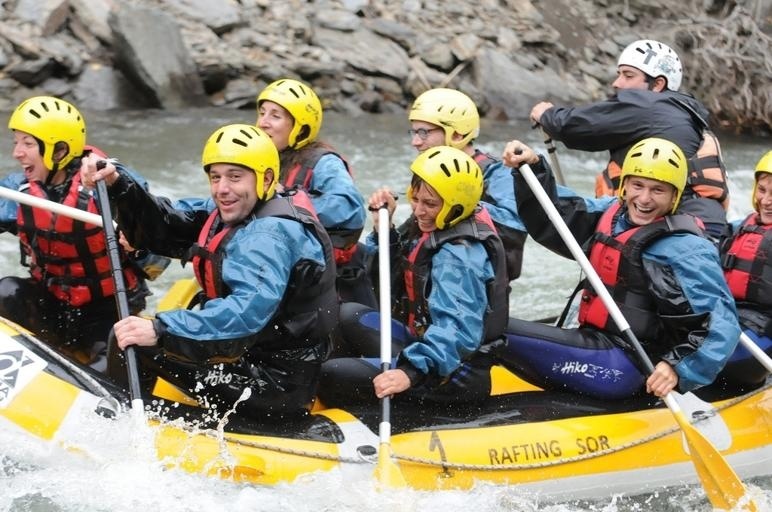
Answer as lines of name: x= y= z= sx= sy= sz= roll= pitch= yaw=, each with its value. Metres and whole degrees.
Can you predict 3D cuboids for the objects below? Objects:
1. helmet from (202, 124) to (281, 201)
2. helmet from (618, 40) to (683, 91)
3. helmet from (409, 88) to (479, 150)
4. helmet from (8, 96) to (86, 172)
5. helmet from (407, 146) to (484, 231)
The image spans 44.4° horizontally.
helmet: x=-0.928 y=-0.637 z=6.280 sx=0.446 sy=0.454 sz=0.579 roll=-1 pitch=2 yaw=37
helmet: x=2.272 y=-1.689 z=8.272 sx=0.592 sy=0.418 sz=0.405 roll=-1 pitch=10 yaw=-8
helmet: x=0.478 y=-1.111 z=7.613 sx=0.568 sy=0.392 sz=0.445 roll=5 pitch=-1 yaw=-15
helmet: x=-2.502 y=-0.946 z=7.270 sx=0.658 sy=0.510 sz=0.462 roll=8 pitch=1 yaw=-30
helmet: x=0.419 y=-0.492 z=6.611 sx=0.433 sy=0.476 sz=0.362 roll=-28 pitch=37 yaw=-31
